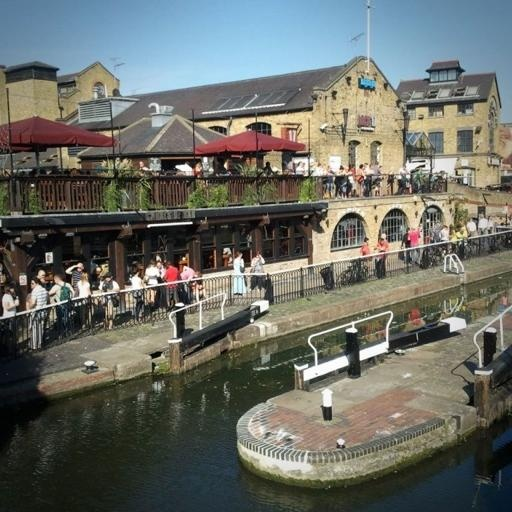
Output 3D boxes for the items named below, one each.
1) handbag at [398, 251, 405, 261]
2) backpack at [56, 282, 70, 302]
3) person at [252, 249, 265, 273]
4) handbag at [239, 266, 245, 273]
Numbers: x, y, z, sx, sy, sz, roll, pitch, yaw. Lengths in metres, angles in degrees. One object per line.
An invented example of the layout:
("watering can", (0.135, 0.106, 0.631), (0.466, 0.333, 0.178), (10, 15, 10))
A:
("handbag", (5.241, 0.028, 28.586), (0.072, 0.306, 0.308), (2, 2, 25))
("backpack", (-4.845, 0.924, 19.701), (0.294, 0.580, 0.405), (-4, -5, 28))
("person", (0.016, 0.269, 25.937), (0.396, 0.618, 0.833), (2, 13, -1))
("handbag", (-0.476, 0.471, 25.694), (0.165, 0.133, 0.233), (0, 1, 10))
